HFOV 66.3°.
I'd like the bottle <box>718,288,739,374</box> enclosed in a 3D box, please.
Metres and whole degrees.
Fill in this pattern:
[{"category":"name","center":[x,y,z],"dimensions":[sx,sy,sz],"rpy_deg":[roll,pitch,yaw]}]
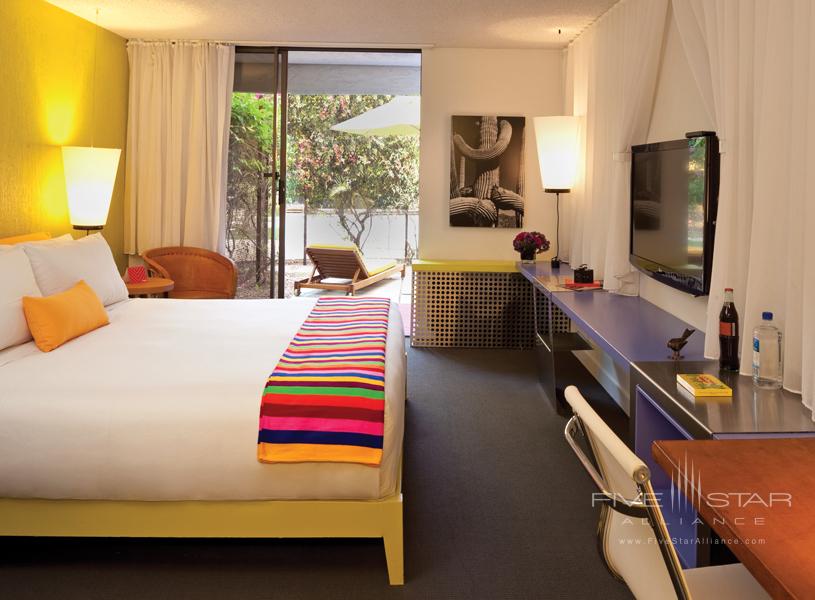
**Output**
[{"category":"bottle","center":[1.388,0.148,2.680],"dimensions":[0.079,0.291,0.174],"rpy_deg":[3,13,15]}]

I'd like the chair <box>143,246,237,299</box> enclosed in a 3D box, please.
[{"category":"chair","center":[-2.155,-0.171,6.142],"dimensions":[0.503,0.688,0.593],"rpy_deg":[-11,-7,-30]}]

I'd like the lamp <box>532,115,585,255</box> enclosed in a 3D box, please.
[{"category":"lamp","center":[1.337,-0.973,5.473],"dimensions":[0.385,1.232,0.606],"rpy_deg":[5,13,21]}]

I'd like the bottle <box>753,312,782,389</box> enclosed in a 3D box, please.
[{"category":"bottle","center":[1.457,0.181,2.506],"dimensions":[0.119,0.297,0.179],"rpy_deg":[7,14,30]}]

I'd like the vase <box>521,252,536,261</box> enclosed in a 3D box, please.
[{"category":"vase","center":[1.121,-0.412,5.761],"dimensions":[0.086,0.068,0.090],"rpy_deg":[1,9,6]}]

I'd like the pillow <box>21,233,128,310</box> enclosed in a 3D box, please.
[{"category":"pillow","center":[-2.081,-0.170,3.861],"dimensions":[0.153,0.343,0.543],"rpy_deg":[-19,5,4]}]

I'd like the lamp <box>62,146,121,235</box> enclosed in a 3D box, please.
[{"category":"lamp","center":[-2.653,-0.931,5.191],"dimensions":[0.471,0.666,0.491],"rpy_deg":[1,0,27]}]

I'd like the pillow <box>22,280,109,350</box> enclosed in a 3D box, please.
[{"category":"pillow","center":[-1.921,0.060,3.532],"dimensions":[0.207,0.228,0.588],"rpy_deg":[3,17,6]}]

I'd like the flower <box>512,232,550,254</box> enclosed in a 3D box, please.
[{"category":"flower","center":[1.146,-0.527,5.647],"dimensions":[0.227,0.174,0.229],"rpy_deg":[-1,4,-29]}]

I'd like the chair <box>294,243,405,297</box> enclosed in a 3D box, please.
[{"category":"chair","center":[-0.737,-0.431,7.636],"dimensions":[0.522,0.424,1.048],"rpy_deg":[2,11,16]}]
